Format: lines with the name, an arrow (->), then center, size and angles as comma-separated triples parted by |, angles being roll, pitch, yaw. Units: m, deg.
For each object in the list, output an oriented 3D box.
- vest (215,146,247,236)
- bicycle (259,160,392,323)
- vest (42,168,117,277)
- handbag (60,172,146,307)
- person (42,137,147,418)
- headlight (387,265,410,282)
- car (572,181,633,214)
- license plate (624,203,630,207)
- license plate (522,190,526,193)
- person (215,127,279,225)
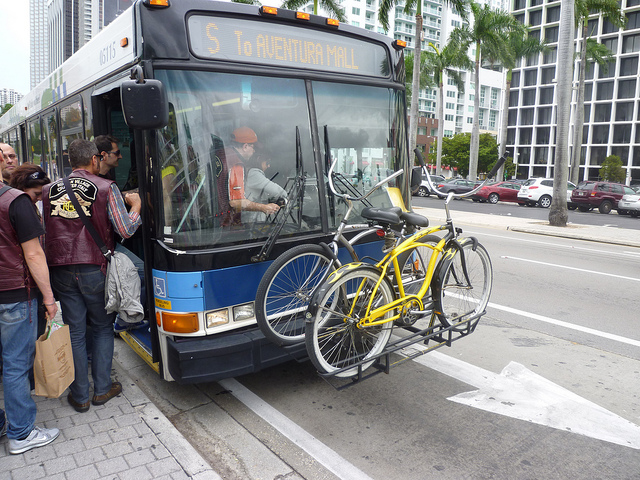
vest -> -0.820, -0.468, 4.384 | 0.290, 0.804, 0.230 | -3, 13, -17
bicycle -> 0.060, -0.025, 4.687 | 0.895, 1.512, 1.963 | 6, 13, 23
vest -> -2.229, -0.157, 4.346 | 0.611, 0.962, 0.349 | -3, 13, -20
handbag -> -2.068, 0.077, 4.596 | 0.635, 1.418, 0.712 | -1, 12, -12
person -> -2.163, 0.310, 4.606 | 0.939, 2.474, 0.759 | -2, 2, -38
headlight -> 0.757, 0.327, 4.562 | 0.143, 0.052, 0.142 | -9, 10, -33
car -> 16.595, -2.538, 27.303 | 3.219, 1.383, 1.697 | -11, 13, -24
license plate -> 16.474, -1.918, 25.262 | 0.190, 0.180, 0.052 | -2, -3, 7
license plate -> 12.935, -3.136, 29.896 | 0.050, 0.168, 0.129 | -10, 17, -42
person -> -0.728, -0.615, 4.445 | 0.551, 0.873, 0.199 | -5, 14, -28
